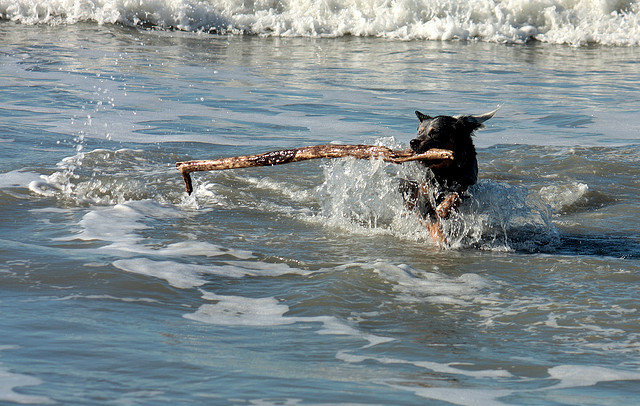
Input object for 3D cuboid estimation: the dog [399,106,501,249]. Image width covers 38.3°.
[{"bbox_3d":[1.834,-0.361,13.785,1.137,2.062,1.566,7,6,4],"label":"dog"}]
